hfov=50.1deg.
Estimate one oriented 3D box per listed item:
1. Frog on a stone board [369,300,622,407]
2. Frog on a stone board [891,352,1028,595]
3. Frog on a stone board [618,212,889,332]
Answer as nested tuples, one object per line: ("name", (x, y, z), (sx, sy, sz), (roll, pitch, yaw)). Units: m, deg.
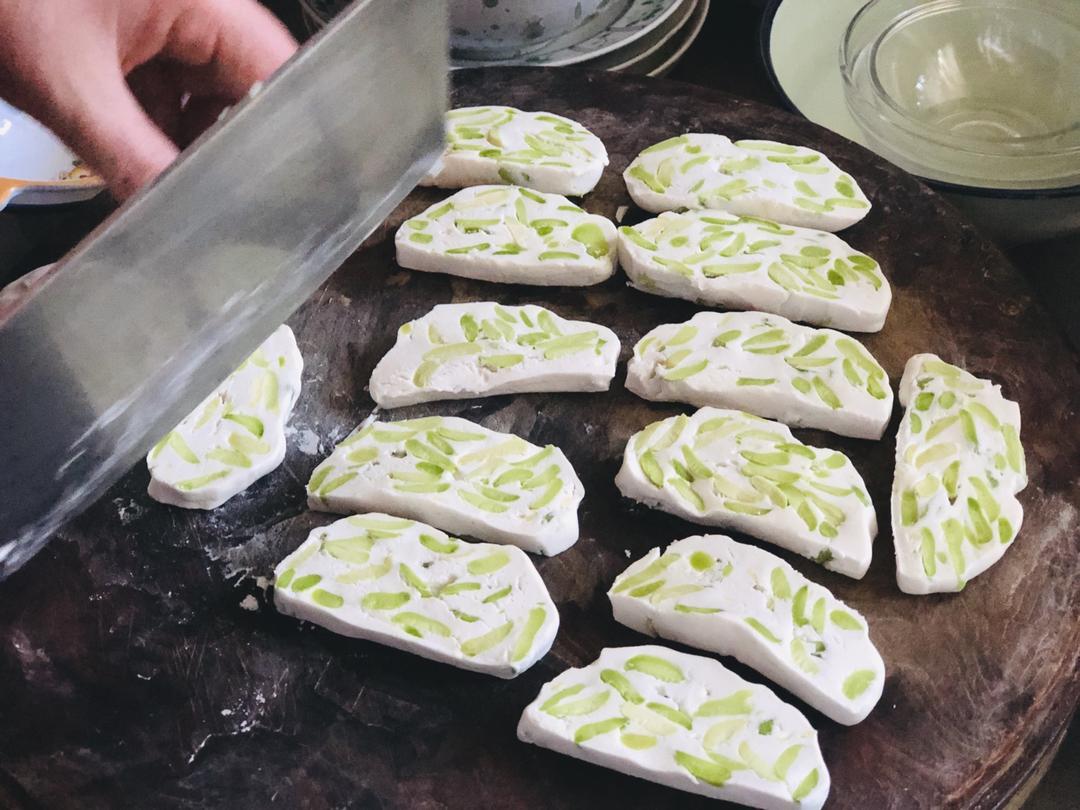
("Frog on a stone board", (-0.087, -0.104, 2.290), (0.483, 0.071, 0.208), (-3, 53, -1))
("Frog on a stone board", (0.756, 0.127, 2.077), (0.219, 0.086, 0.473), (10, 53, 9))
("Frog on a stone board", (0.422, -0.281, 2.336), (0.502, 0.078, 0.222), (10, 46, 7))
